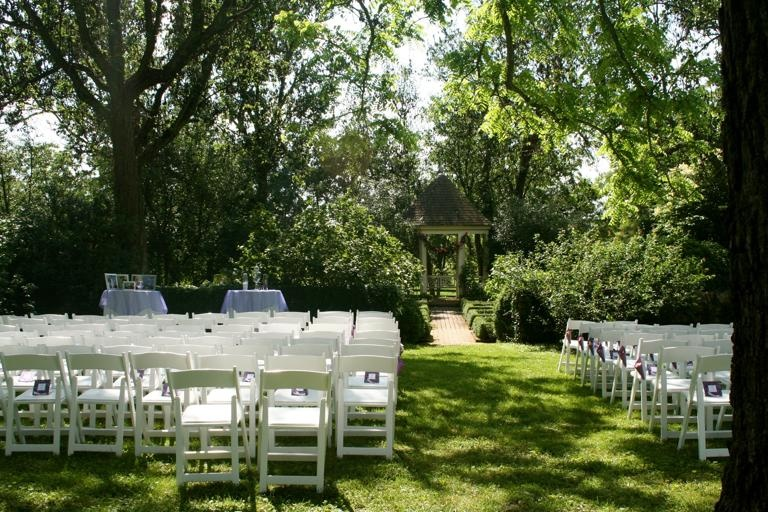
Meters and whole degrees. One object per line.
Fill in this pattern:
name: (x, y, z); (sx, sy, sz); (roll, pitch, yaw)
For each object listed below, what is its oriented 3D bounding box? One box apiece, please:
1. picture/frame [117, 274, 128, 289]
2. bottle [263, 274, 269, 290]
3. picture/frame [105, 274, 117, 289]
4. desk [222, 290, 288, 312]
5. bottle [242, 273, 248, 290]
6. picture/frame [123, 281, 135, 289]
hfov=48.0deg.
picture/frame: (-6.108, 0.607, 20.057); (0.272, 0.384, 0.027); (6, -8, -34)
bottle: (-2.825, 0.635, 20.243); (0.087, 0.337, 0.344); (1, -7, -14)
picture/frame: (-6.337, 0.583, 19.980); (0.321, 0.442, 0.041); (-5, 4, -43)
desk: (-3.018, 1.036, 20.006); (1.413, 0.521, 0.604); (1, -7, -14)
bottle: (-3.245, 0.606, 20.030); (0.084, 0.400, 0.257); (1, -6, -19)
picture/frame: (-5.907, 0.677, 19.933); (0.285, 0.174, 0.174); (2, -7, -19)
